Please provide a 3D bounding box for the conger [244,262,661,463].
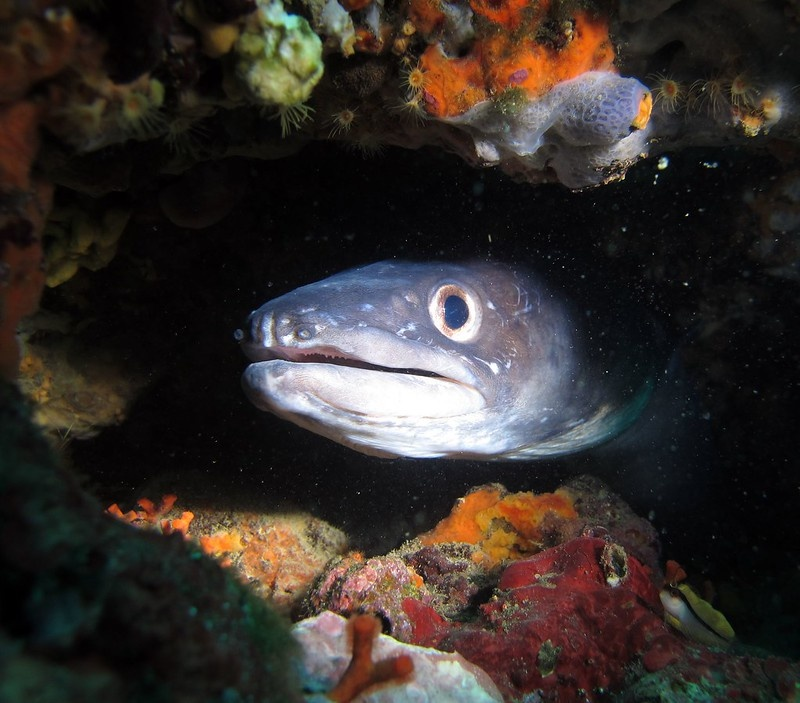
[{"bbox_3d":[0.403,0.101,5.534,1.251,2.432,0.895,21,98,46],"label":"conger"}]
